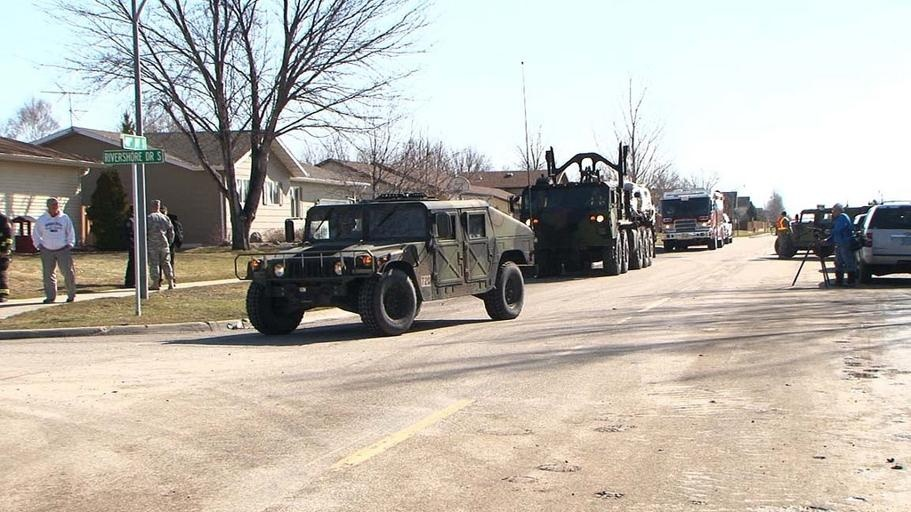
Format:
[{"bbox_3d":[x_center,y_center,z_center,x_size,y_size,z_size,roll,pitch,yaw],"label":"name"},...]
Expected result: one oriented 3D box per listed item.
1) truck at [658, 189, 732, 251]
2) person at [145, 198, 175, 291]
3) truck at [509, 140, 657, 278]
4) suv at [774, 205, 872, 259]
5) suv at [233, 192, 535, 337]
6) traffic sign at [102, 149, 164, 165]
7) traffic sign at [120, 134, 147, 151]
[{"bbox_3d":[17.445,-2.596,52.513,3.421,2.981,6.838,-3,-3,24],"label":"truck"},{"bbox_3d":[-9.028,-0.347,22.154,0.771,2.678,1.078,-4,7,-22],"label":"person"},{"bbox_3d":[5.694,-1.738,32.928,4.560,5.037,8.958,-3,-5,21],"label":"truck"},{"bbox_3d":[17.762,-0.891,35.582,3.511,1.933,2.183,9,-1,42],"label":"suv"},{"bbox_3d":[-1.073,0.167,16.458,3.355,2.446,5.313,-3,-3,37],"label":"suv"},{"bbox_3d":[-8.022,-2.489,18.025,1.306,0.324,0.175,-1,-4,-6],"label":"traffic sign"},{"bbox_3d":[-8.035,-2.846,18.066,0.533,0.432,1.323,-4,6,-24],"label":"traffic sign"}]
